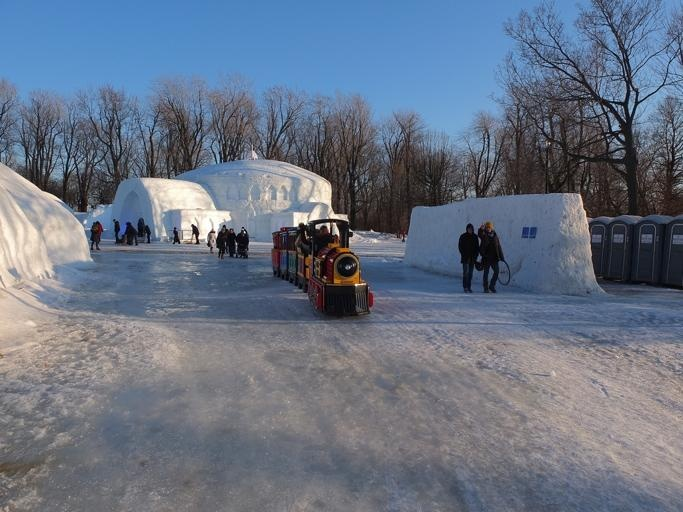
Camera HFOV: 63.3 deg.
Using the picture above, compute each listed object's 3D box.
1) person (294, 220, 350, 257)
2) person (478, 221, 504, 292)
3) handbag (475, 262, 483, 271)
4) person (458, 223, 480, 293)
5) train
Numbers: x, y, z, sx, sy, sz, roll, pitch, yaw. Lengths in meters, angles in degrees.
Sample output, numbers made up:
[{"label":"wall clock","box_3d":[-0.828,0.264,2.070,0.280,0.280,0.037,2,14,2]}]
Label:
[{"label":"person","box_3d":[-0.445,-0.445,13.873,0.663,0.900,1.575,-1,0,-14]},{"label":"person","box_3d":[3.923,0.037,14.586,0.559,1.809,0.692,2,12,9]},{"label":"handbag","box_3d":[3.663,0.264,14.729,0.144,0.202,0.197,-1,-7,-2]},{"label":"person","box_3d":[3.380,0.052,14.560,0.527,1.731,0.614,-3,12,-14]},{"label":"train","box_3d":[-0.457,0.230,13.813,1.095,1.707,5.325,0,1,-9]}]
